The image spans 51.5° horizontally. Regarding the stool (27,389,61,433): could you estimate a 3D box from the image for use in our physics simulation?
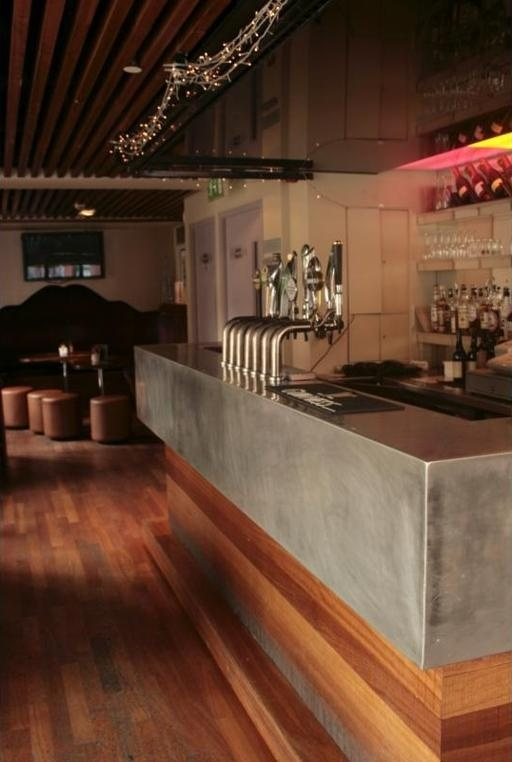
[{"bbox_3d":[-2.777,0.345,6.930,0.424,0.662,0.492,0,5,1],"label":"stool"}]

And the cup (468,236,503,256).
[{"bbox_3d":[1.438,-0.826,3.312,0.170,0.124,0.114,-2,3,-15],"label":"cup"}]

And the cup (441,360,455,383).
[{"bbox_3d":[1.115,-0.060,3.078,0.047,0.117,0.183,0,3,17],"label":"cup"}]

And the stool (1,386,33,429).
[{"bbox_3d":[-3.115,0.356,6.929,0.393,0.613,0.454,2,2,10],"label":"stool"}]

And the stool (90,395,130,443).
[{"bbox_3d":[-1.731,0.410,6.266,0.400,0.534,0.464,5,16,9],"label":"stool"}]

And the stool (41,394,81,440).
[{"bbox_3d":[-2.397,0.374,6.545,0.403,0.562,0.419,-11,26,-36],"label":"stool"}]

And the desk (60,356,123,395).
[{"bbox_3d":[-2.546,-0.084,8.182,0.858,0.675,2.475,-2,3,-21],"label":"desk"}]

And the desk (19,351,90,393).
[{"bbox_3d":[-2.944,-0.319,8.043,0.939,0.838,1.073,-2,12,-11],"label":"desk"}]
